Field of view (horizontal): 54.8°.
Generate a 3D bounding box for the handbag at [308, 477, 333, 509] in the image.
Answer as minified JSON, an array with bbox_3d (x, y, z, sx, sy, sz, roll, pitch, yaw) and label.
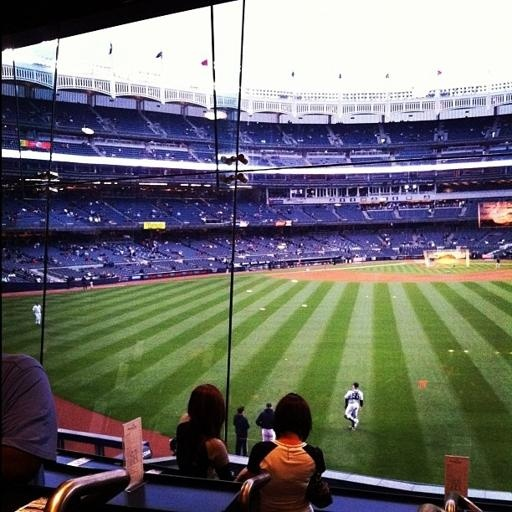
[{"bbox_3d":[0.313,1.135,2.372,0.085,0.155,0.115,4,9,38],"label":"handbag"}]
